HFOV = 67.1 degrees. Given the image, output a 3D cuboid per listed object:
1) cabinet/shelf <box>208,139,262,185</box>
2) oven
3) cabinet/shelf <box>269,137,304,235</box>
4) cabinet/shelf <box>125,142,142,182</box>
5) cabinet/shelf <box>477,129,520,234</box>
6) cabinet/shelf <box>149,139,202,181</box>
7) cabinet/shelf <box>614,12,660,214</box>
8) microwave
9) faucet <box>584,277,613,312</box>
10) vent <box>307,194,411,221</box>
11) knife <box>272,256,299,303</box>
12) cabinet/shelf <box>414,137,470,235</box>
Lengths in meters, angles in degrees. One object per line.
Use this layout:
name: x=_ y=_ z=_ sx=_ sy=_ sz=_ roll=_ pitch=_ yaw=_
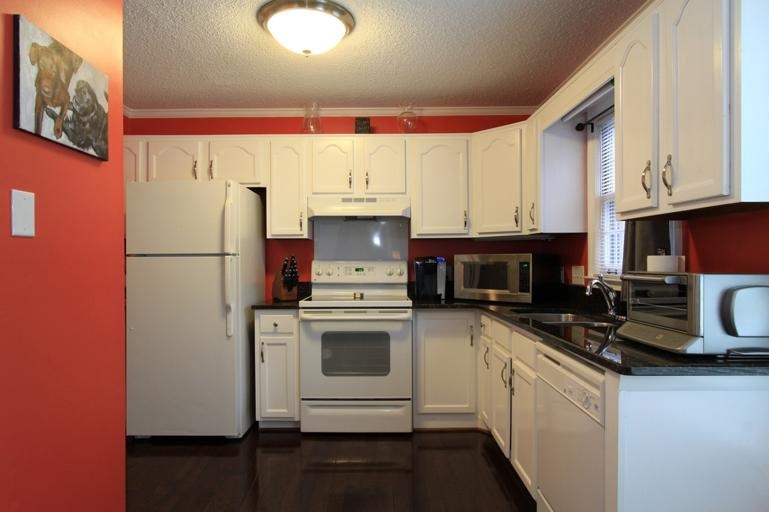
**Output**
cabinet/shelf: x=-1.177 y=-0.694 z=4.656 sx=0.453 sy=0.400 sz=0.242 roll=-2 pitch=-18 yaw=-9
oven: x=-0.199 y=0.628 z=4.472 sx=0.890 sy=0.766 sz=0.634 roll=0 pitch=-8 yaw=0
cabinet/shelf: x=-0.764 y=-0.541 z=4.560 sx=0.316 sy=0.747 sz=0.210 roll=-3 pitch=14 yaw=-8
cabinet/shelf: x=-1.965 y=-0.750 z=4.555 sx=0.141 sy=0.304 sz=0.093 roll=-1 pitch=14 yaw=-4
cabinet/shelf: x=0.850 y=-0.560 z=4.418 sx=0.431 sy=0.858 sz=0.118 roll=-3 pitch=-5 yaw=32
cabinet/shelf: x=-1.699 y=-0.767 z=4.663 sx=0.453 sy=0.313 sz=0.253 roll=-4 pitch=13 yaw=-32
cabinet/shelf: x=1.309 y=-0.690 z=3.035 sx=0.108 sy=0.996 sz=0.407 roll=0 pitch=0 yaw=-8
microwave: x=0.898 y=0.164 z=4.304 sx=0.812 sy=0.409 sz=0.282 roll=3 pitch=14 yaw=16
faucet: x=1.281 y=0.221 z=3.371 sx=0.063 sy=0.217 sz=0.227 roll=-14 pitch=10 yaw=-34
vent: x=-0.197 y=-0.381 z=4.520 sx=0.813 sy=0.175 sz=0.159 roll=-1 pitch=13 yaw=-2
knife: x=-0.793 y=0.187 z=4.628 sx=0.194 sy=0.296 sz=0.248 roll=-4 pitch=14 yaw=-16
cabinet/shelf: x=0.512 y=-0.581 z=4.741 sx=0.515 sy=0.849 sz=0.416 roll=3 pitch=11 yaw=26
